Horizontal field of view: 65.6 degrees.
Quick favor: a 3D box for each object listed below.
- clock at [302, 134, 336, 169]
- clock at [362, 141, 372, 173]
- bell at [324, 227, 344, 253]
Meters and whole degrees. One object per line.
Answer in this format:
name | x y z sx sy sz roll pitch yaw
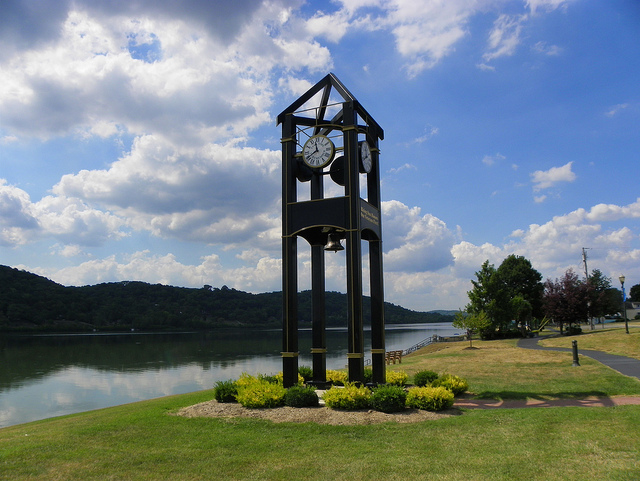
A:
clock | -0.062 -4.154 22.695 1.529 1.676 0.532 -10 -12 33
clock | 2.317 -3.987 23.857 0.208 1.469 1.298 -7 -11 21
bell | 0.632 -0.049 22.287 0.951 1.105 0.979 0 -16 3
